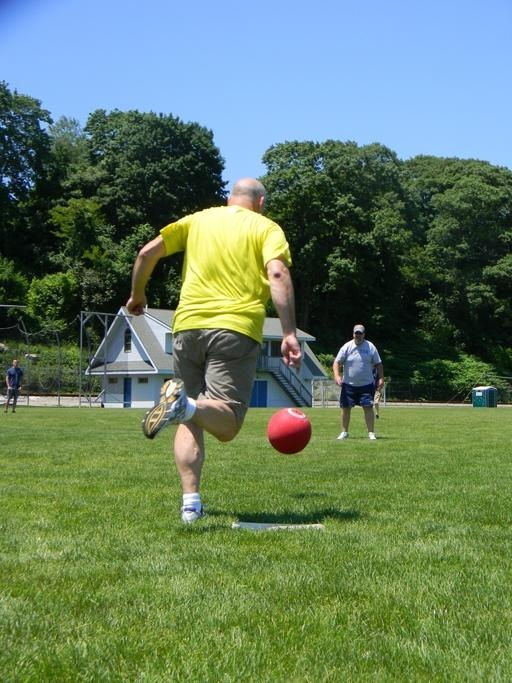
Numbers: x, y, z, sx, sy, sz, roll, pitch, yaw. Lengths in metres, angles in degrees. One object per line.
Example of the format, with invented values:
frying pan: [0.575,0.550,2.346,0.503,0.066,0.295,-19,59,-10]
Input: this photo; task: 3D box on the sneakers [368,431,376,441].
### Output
sneakers: [1.674,1.385,12.073,0.103,0.128,0.137,0,-16,2]

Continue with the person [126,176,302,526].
person: [-0.231,-0.023,4.697,0.909,1.803,1.125,4,-1,-8]

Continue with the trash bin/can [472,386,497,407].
trash bin/can: [14.017,3.442,51.372,1.240,1.625,1.949,1,-2,-17]

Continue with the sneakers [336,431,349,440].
sneakers: [1.266,1.401,12.281,0.085,0.099,0.247,-4,-7,24]

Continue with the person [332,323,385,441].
person: [1.492,0.619,12.129,0.762,1.626,0.564,-1,-1,6]
